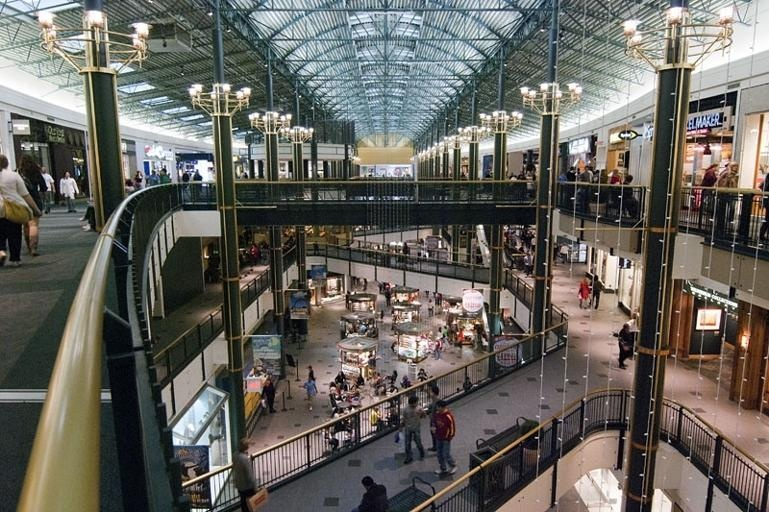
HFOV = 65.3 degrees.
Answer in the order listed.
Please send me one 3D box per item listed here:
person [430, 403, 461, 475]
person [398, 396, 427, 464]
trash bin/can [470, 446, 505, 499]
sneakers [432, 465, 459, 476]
[{"bbox_3d":[1.576,4.745,15.704,0.573,1.818,0.564,-2,9,5],"label":"person"},{"bbox_3d":[0.786,4.546,16.213,0.560,1.816,0.832,-3,9,1],"label":"person"},{"bbox_3d":[2.543,5.566,15.254,1.013,1.135,0.547,-11,13,-40],"label":"trash bin/can"},{"bbox_3d":[1.619,5.614,15.687,0.619,0.277,0.215,2,7,-6],"label":"sneakers"}]
